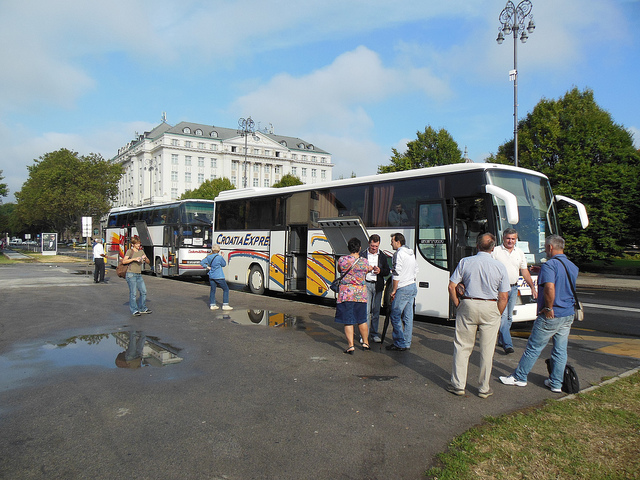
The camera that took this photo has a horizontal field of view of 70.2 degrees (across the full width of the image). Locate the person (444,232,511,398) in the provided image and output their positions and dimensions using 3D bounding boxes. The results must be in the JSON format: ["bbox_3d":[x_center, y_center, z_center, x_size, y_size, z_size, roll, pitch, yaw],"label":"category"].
[{"bbox_3d":[2.518,1.157,7.321,0.882,2.564,0.677,5,-6,19],"label":"person"}]

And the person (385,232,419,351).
[{"bbox_3d":[1.705,1.101,9.488,0.581,2.469,0.567,1,4,3],"label":"person"}]

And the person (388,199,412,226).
[{"bbox_3d":[2.238,-0.761,13.020,0.571,0.971,0.646,-4,3,-38],"label":"person"}]

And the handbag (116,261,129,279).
[{"bbox_3d":[-5.485,0.859,12.652,0.294,0.379,0.369,-2,5,-26],"label":"handbag"}]

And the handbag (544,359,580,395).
[{"bbox_3d":[4.019,2.255,7.585,0.582,0.624,0.398,-4,-9,44],"label":"handbag"}]

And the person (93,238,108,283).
[{"bbox_3d":[-10.420,1.004,21.445,0.483,2.047,1.499,-2,5,-26],"label":"person"}]

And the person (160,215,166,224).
[{"bbox_3d":[-8.945,-1.193,25.868,0.133,0.516,0.722,-2,5,-33],"label":"person"}]

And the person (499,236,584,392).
[{"bbox_3d":[3.713,1.195,7.402,1.038,2.519,0.546,0,4,-7],"label":"person"}]

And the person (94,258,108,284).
[{"bbox_3d":[-10.281,1.372,21.198,0.485,1.208,0.862,-2,5,-30],"label":"person"}]

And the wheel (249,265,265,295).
[{"bbox_3d":[-2.523,1.554,18.168,0.145,1.207,0.928,1,8,-37],"label":"wheel"}]

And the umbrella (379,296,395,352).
[{"bbox_3d":[1.517,1.912,10.337,0.121,1.280,0.118,19,15,36],"label":"umbrella"}]

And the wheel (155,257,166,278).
[{"bbox_3d":[-9.199,1.525,26.213,0.325,1.162,1.050,0,-3,-21],"label":"wheel"}]

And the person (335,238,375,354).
[{"bbox_3d":[0.702,1.153,9.325,0.719,2.363,0.667,1,4,5],"label":"person"}]

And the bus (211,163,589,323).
[{"bbox_3d":[1.013,0.131,16.593,3.345,4.196,13.926,8,-6,-41],"label":"bus"}]
